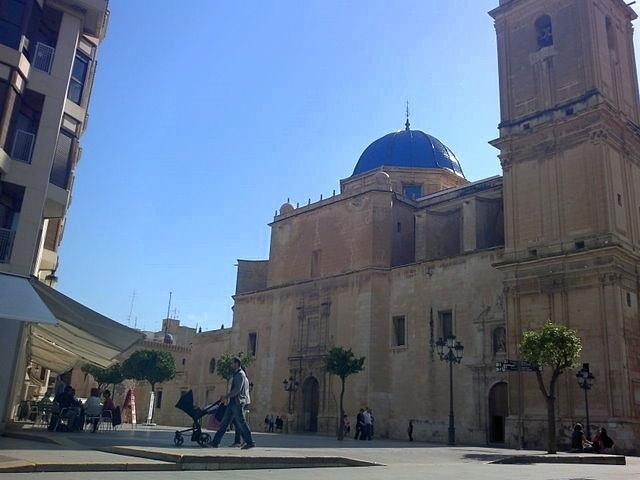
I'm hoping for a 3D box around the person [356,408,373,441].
[{"bbox_3d":[2.435,10.266,30.656,0.747,1.503,1.762,5,-21,-14],"label":"person"}]

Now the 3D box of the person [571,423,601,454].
[{"bbox_3d":[10.459,7.853,21.906,1.344,1.000,0.717,11,-23,-28],"label":"person"}]

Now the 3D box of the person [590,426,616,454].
[{"bbox_3d":[11.764,8.287,22.876,0.646,1.043,0.905,11,-35,6],"label":"person"}]

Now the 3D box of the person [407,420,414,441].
[{"bbox_3d":[5.308,11.072,32.243,0.392,1.177,0.619,-3,-20,8],"label":"person"}]
